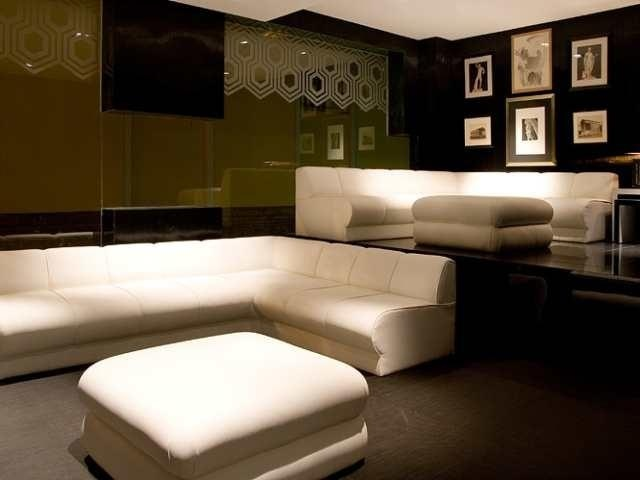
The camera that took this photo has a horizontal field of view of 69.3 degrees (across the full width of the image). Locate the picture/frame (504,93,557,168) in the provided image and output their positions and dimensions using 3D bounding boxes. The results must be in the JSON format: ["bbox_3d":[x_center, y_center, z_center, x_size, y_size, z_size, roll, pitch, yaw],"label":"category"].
[{"bbox_3d":[2.713,-1.396,5.963,0.064,0.903,0.682,-8,13,-44],"label":"picture/frame"}]

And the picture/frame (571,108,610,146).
[{"bbox_3d":[3.227,-1.345,5.507,0.427,0.495,0.033,1,5,43],"label":"picture/frame"}]

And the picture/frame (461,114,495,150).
[{"bbox_3d":[2.201,-1.496,6.404,0.046,0.532,0.469,5,-1,-40],"label":"picture/frame"}]

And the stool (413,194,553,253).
[{"bbox_3d":[1.406,-0.147,4.071,1.206,0.487,0.587,4,10,19],"label":"stool"}]
